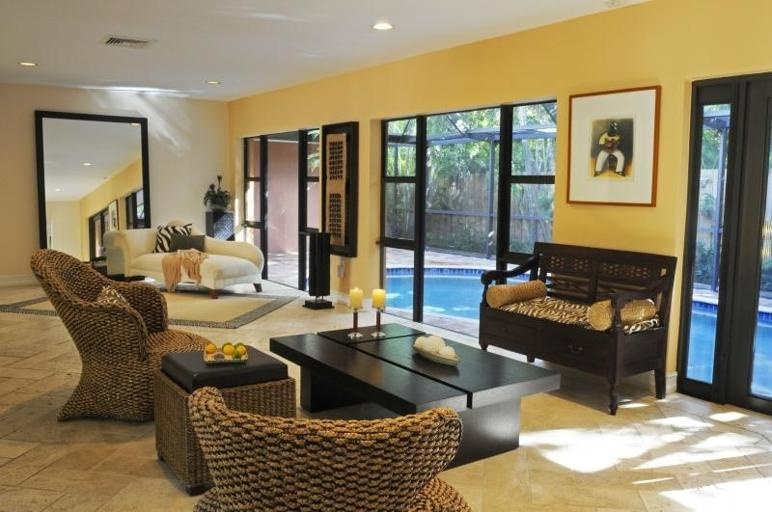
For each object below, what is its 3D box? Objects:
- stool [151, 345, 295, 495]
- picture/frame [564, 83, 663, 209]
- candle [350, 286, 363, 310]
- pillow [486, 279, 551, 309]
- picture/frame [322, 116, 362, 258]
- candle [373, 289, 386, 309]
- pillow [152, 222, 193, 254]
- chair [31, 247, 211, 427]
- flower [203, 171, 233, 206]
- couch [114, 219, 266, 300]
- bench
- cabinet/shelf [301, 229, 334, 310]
[{"bbox_3d":[-1.388,1.138,3.873,1.119,0.684,1.064,11,-11,-29],"label":"stool"},{"bbox_3d":[2.081,-0.998,5.152,0.929,1.063,0.173,14,20,41],"label":"picture/frame"},{"bbox_3d":[-0.233,0.366,4.483,0.075,0.206,0.192,3,15,8],"label":"candle"},{"bbox_3d":[1.295,0.360,5.449,0.689,0.200,0.222,-8,6,-39],"label":"pillow"},{"bbox_3d":[-0.626,-0.937,7.810,0.347,1.831,1.043,-8,18,-30],"label":"picture/frame"},{"bbox_3d":[-0.055,0.356,4.478,0.087,0.227,0.240,0,15,-5],"label":"candle"},{"bbox_3d":[-3.427,-0.275,8.938,0.526,0.458,0.160,5,-8,-14],"label":"pillow"},{"bbox_3d":[-2.060,0.613,4.499,1.439,1.133,1.036,5,7,-16],"label":"chair"},{"bbox_3d":[-3.007,-1.147,10.109,0.484,0.555,0.545,-8,17,-30],"label":"flower"},{"bbox_3d":[-2.953,0.027,8.487,1.769,0.795,1.216,4,7,30],"label":"couch"},{"bbox_3d":[1.728,0.566,5.239,0.789,1.157,1.685,-9,9,-28],"label":"bench"},{"bbox_3d":[-0.910,0.176,7.529,0.373,1.042,0.488,-1,15,-8],"label":"cabinet/shelf"}]
